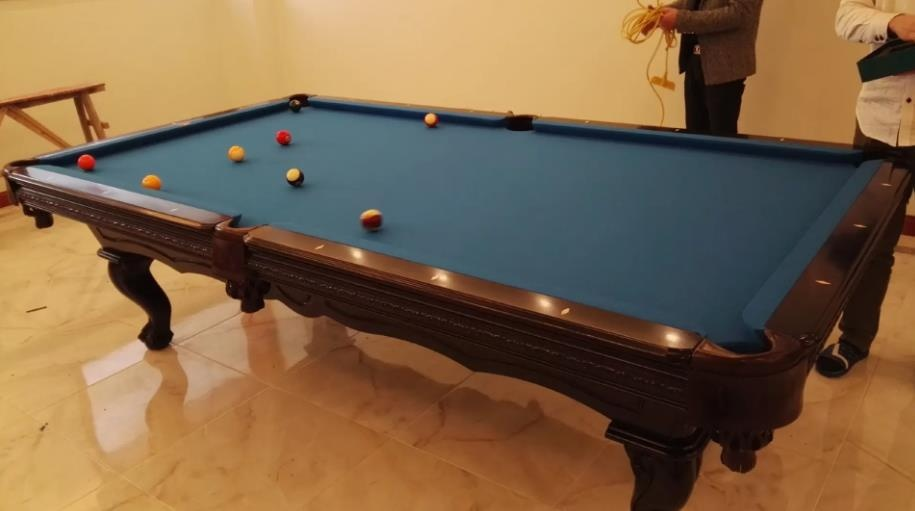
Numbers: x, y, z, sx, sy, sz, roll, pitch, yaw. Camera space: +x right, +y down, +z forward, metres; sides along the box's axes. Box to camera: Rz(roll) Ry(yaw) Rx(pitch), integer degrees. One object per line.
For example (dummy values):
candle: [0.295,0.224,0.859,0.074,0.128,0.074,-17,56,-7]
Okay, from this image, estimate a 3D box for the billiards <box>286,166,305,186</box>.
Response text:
billiards: [-0.922,-0.454,3.753,0.108,0.100,0.068,-23,-12,14]

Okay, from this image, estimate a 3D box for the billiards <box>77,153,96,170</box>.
billiards: [-2.290,-0.572,3.980,0.083,0.078,0.079,-10,29,6]

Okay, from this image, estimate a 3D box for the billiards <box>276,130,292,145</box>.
billiards: [-1.127,-0.758,4.189,0.090,0.084,0.082,-11,23,16]

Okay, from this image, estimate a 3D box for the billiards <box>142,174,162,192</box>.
billiards: [-1.767,-0.417,3.797,0.110,0.099,0.106,-2,-14,8]
